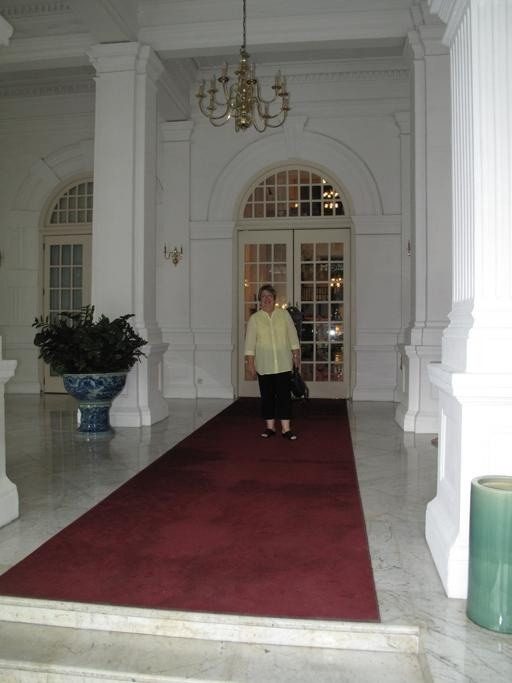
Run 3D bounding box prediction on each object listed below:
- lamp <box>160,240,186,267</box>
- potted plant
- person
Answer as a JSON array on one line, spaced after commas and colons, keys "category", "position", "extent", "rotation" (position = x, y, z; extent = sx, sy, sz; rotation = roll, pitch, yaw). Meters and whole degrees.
[{"category": "lamp", "position": [-1.298, -1.397, 8.854], "extent": [0.409, 0.437, 0.116], "rotation": [0, 0, 10]}, {"category": "potted plant", "position": [-1.649, 0.311, 6.107], "extent": [1.408, 1.493, 1.233], "rotation": [0, 0, 6]}, {"category": "person", "position": [0.164, 0.221, 5.620], "extent": [0.511, 1.558, 0.442], "rotation": [-1, 6, 3]}]
